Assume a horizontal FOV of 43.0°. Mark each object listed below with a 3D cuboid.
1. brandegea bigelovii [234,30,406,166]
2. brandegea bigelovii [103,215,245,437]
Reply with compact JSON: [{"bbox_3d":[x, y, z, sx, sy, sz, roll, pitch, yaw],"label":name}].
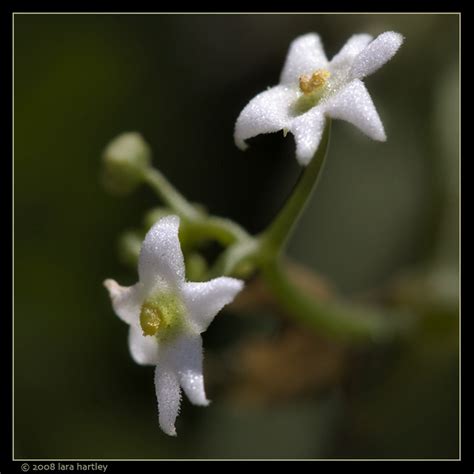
[{"bbox_3d":[0.173,-0.280,1.219,0.334,0.123,0.392,-3,41,14],"label":"brandegea bigelovii"},{"bbox_3d":[-0.136,0.156,1.181,0.112,0.383,0.305,-10,22,-41],"label":"brandegea bigelovii"}]
